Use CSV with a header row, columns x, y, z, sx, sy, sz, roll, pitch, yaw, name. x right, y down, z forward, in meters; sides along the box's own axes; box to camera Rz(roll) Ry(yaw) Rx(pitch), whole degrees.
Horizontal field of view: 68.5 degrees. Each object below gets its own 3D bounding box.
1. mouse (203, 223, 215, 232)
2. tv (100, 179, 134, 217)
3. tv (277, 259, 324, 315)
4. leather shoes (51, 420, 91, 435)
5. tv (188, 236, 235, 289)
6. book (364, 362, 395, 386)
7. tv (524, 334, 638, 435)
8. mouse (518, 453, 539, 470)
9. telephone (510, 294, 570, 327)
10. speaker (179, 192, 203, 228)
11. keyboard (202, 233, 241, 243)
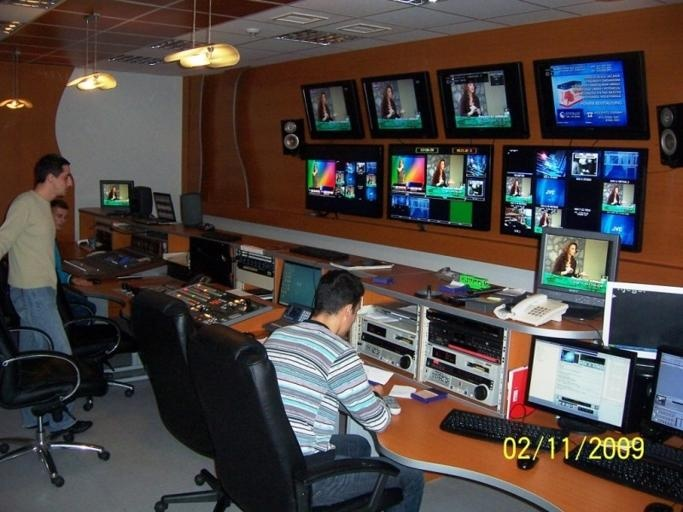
x,y,z,sx,sy,sz,roll,pitch,yaw,name
-1.373,-0.288,5.195,0.090,0.043,0.132,-1,-1,-7,mouse
-3.107,-0.778,6.940,0.635,0.551,0.329,0,4,-25,tv
-0.303,0.235,3.757,0.048,0.298,0.451,1,4,-41,tv
-2.101,1.331,3.911,0.263,0.100,0.087,-10,20,-33,leather shoes
-1.181,0.062,4.618,0.496,0.316,0.050,11,15,39,tv
0.234,0.718,3.051,0.258,0.051,0.231,0,10,-5,book
1.267,0.668,2.612,0.524,0.341,0.166,7,17,42,tv
0.863,0.953,2.340,0.078,0.028,0.117,10,13,35,mouse
1.070,0.292,2.711,0.225,0.077,0.177,-13,18,-31,telephone
-1.610,-0.484,5.396,0.221,0.346,0.411,0,12,-16,speaker
-1.142,-0.163,4.699,0.535,0.047,0.375,8,8,39,keyboard
